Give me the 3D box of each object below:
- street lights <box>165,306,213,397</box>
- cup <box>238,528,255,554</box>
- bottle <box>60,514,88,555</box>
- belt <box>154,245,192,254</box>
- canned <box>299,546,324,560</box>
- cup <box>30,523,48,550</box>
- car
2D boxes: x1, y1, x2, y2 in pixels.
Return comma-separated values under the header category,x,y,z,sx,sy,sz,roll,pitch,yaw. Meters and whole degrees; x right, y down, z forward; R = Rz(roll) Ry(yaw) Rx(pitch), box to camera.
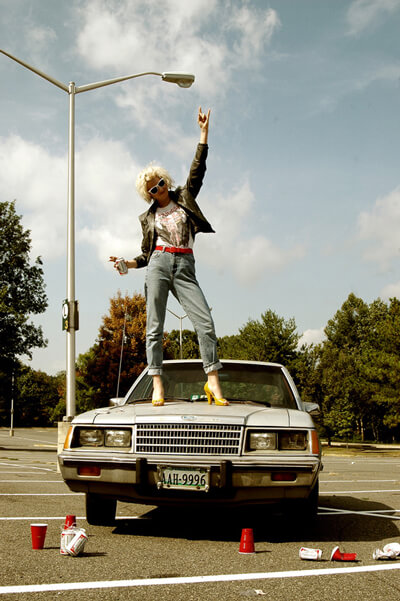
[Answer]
category,x,y,z,sx,sy,sz,roll,pitch,yaw
street lights,-0.203,0.533,8.936,0.571,0.810,0.513,-5,13,-12
cup,0.244,1.410,3.660,0.128,0.136,0.118,3,-17,1
bottle,-0.685,1.332,3.538,0.172,0.250,0.259,0,-18,-2
belt,-0.208,-0.397,4.900,0.291,0.075,0.112,4,-3,-7
canned,0.611,1.398,3.471,0.093,0.035,0.072,3,3,11
cup,-0.924,1.347,3.569,0.136,0.144,0.131,0,-22,0
car,0.044,0.853,4.432,1.196,0.812,2.032,-3,-19,6
